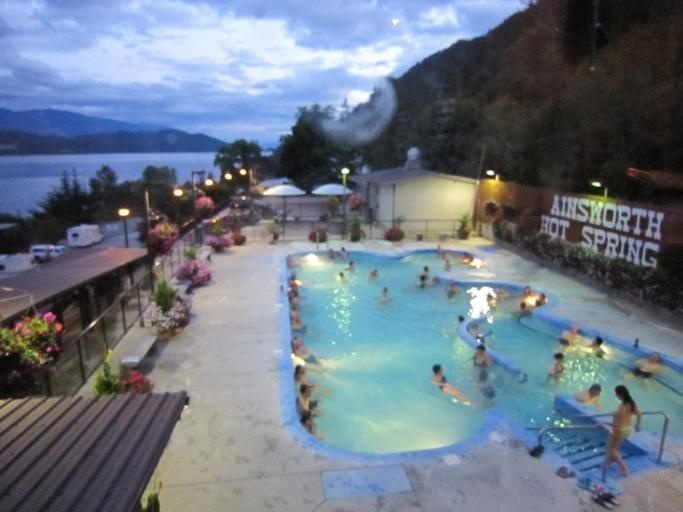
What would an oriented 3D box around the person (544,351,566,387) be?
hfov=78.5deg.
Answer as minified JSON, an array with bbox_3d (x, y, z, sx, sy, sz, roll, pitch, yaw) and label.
[{"bbox_3d":[6.894,3.480,13.293,0.458,0.922,0.944,12,14,30],"label":"person"}]

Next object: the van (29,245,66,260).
[{"bbox_3d":[-21.788,-0.213,30.875,1.985,1.030,1.208,4,9,8],"label":"van"}]

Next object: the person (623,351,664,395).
[{"bbox_3d":[9.409,3.524,12.993,1.337,0.614,0.770,-33,24,-33],"label":"person"}]

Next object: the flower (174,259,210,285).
[{"bbox_3d":[-6.620,0.700,19.110,1.038,1.190,1.346,0,15,2],"label":"flower"}]

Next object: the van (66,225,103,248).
[{"bbox_3d":[-23.612,-1.664,38.439,1.850,1.936,3.325,1,17,-5],"label":"van"}]

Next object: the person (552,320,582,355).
[{"bbox_3d":[8.218,3.004,15.192,0.771,0.685,1.919,2,29,32],"label":"person"}]

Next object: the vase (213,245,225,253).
[{"bbox_3d":[-7.455,-0.423,25.405,0.594,0.490,0.393,1,13,-19],"label":"vase"}]

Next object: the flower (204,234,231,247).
[{"bbox_3d":[-7.396,-0.879,25.664,0.981,0.656,1.095,-1,3,4],"label":"flower"}]

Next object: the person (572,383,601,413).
[{"bbox_3d":[6.763,3.804,11.415,0.579,0.639,1.021,13,14,32],"label":"person"}]

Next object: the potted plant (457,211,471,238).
[{"bbox_3d":[8.742,-2.067,29.737,0.842,1.660,1.413,8,13,15],"label":"potted plant"}]

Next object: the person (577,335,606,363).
[{"bbox_3d":[8.687,3.159,14.348,0.563,0.657,0.837,4,12,-7],"label":"person"}]
